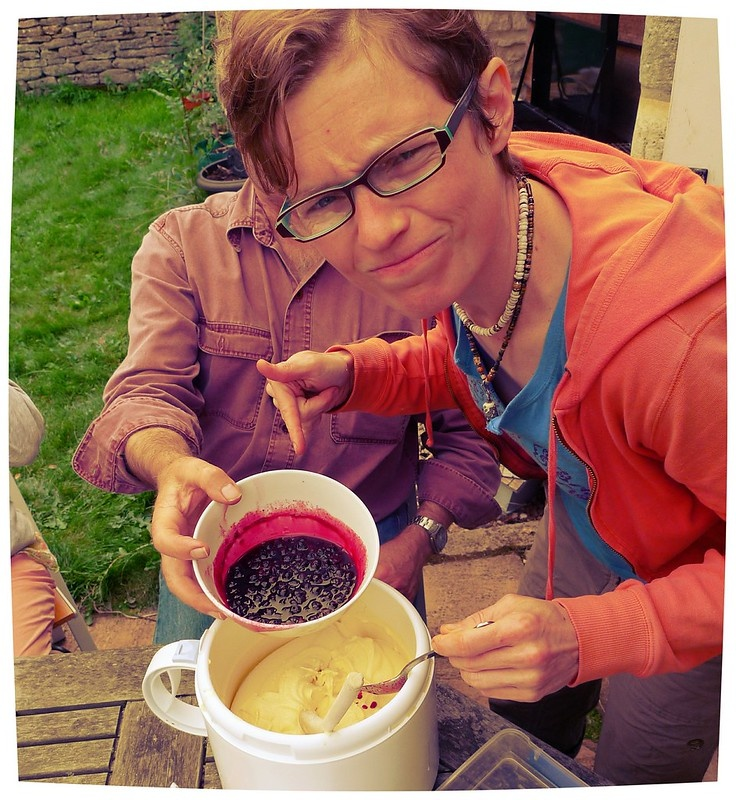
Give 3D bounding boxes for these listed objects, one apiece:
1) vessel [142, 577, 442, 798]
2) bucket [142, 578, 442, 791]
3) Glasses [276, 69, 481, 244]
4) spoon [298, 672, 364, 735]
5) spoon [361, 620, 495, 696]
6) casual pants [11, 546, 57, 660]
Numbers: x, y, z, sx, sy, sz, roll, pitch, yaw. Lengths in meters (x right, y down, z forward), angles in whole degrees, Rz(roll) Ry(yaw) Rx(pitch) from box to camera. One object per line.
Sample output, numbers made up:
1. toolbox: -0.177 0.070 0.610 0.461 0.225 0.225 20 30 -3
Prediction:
1. vessel: -0.125 0.487 1.143 0.424 0.261 0.354 5 38 11
2. bucket: -0.125 0.532 1.175 0.429 0.261 0.350 5 39 9
3. Glasses: 0.021 -0.353 1.138 0.255 0.070 0.268 -23 29 52
4. spoon: -0.061 0.484 1.136 0.043 0.168 0.041 -10 45 -44
5. spoon: 0.087 0.408 1.119 0.223 0.041 0.041 -28 10 4
6. casual pants: -1.048 0.654 2.219 0.113 0.241 0.333 -5 26 -23
